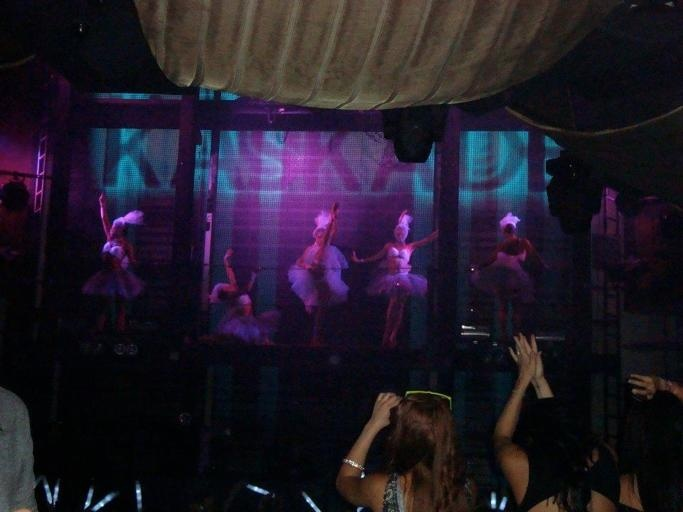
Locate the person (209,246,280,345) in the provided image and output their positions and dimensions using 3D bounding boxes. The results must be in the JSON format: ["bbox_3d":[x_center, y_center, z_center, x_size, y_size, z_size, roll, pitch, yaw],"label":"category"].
[{"bbox_3d":[-1.410,0.690,9.452,1.026,1.516,0.958,4,-1,-8],"label":"person"}]
